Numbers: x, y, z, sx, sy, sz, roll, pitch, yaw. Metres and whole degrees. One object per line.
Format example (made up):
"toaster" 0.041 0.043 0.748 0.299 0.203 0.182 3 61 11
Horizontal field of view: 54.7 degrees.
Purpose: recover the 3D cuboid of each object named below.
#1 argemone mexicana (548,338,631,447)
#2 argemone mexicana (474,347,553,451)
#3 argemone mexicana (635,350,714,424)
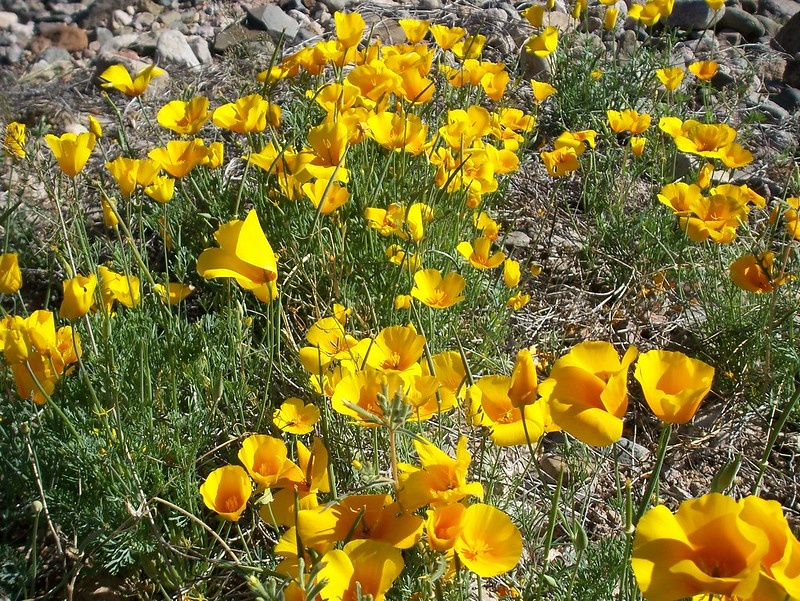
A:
"argemone mexicana" 0.461 0.218 1.896 0.197 0.174 0.255 22 49 6
"argemone mexicana" 0.324 0.299 2.260 0.214 0.260 0.220 38 69 23
"argemone mexicana" 0.657 0.195 1.886 0.173 0.101 0.176 31 51 13
